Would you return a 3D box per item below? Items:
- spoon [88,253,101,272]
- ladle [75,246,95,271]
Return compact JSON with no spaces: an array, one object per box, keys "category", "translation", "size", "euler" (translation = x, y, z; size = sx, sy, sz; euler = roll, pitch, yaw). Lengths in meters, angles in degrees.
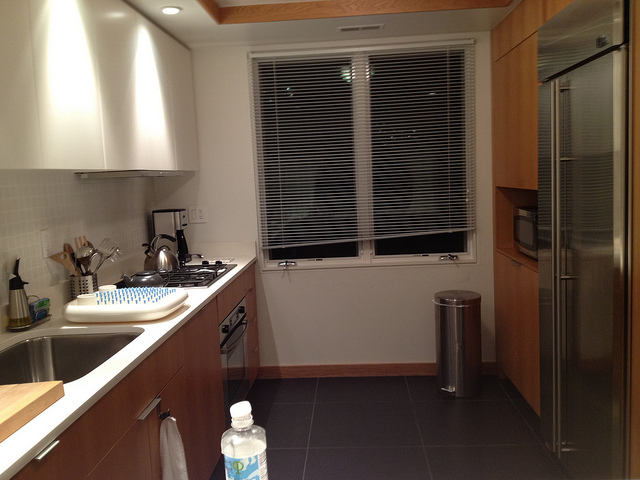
[{"category":"spoon","translation":[-1.310,0.130,2.956],"size":[0.079,0.098,0.075],"euler":[9,20,-40]},{"category":"ladle","translation":[-1.271,0.105,2.758],"size":[0.095,0.103,0.084],"euler":[11,13,40]}]
